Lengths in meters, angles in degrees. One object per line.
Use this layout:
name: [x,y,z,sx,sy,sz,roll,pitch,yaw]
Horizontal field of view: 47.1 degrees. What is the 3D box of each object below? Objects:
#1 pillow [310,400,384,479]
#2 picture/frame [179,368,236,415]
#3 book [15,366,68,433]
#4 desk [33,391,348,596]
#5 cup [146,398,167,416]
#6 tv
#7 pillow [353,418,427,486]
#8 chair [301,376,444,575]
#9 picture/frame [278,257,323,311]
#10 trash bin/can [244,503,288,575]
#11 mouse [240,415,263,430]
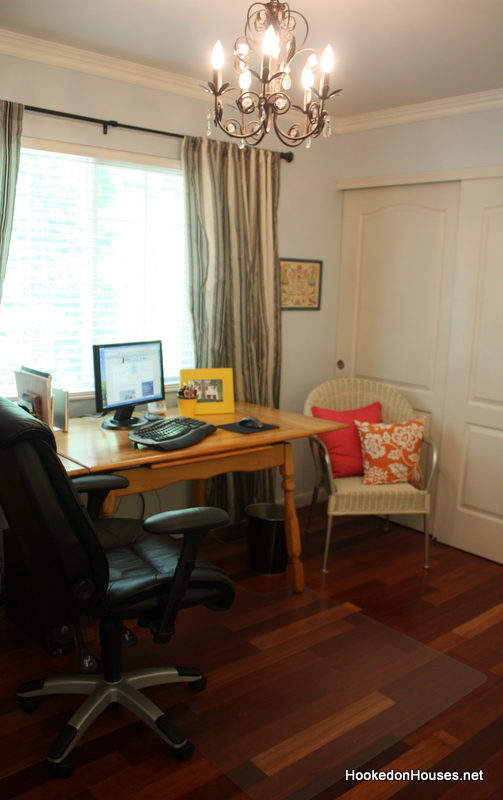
pillow: [0.493,0.276,3.117,0.285,0.262,0.148,-3,5,-43]
picture/frame: [-0.220,-0.039,2.807,0.214,0.186,0.021,-2,-2,-27]
book: [-0.770,-0.003,2.103,0.089,0.231,0.226,-11,21,-42]
desk: [-0.382,0.280,2.949,0.978,0.871,1.412,-12,33,-20]
cup: [-0.456,0.035,2.722,0.073,0.075,0.074,1,2,0]
tv: [-0.559,-0.070,2.546,0.182,0.354,0.373,8,12,36]
pillow: [0.733,0.273,3.003,0.336,0.343,0.125,-4,5,9]
chair: [0.626,0.381,3.122,0.628,0.875,0.682,0,5,-8]
picture/frame: [0.281,-0.699,3.512,0.395,0.300,0.021,-11,18,-44]
trash bin/can: [0.081,0.701,2.833,0.230,0.309,0.243,-5,-5,-16]
mouse: [0.008,0.097,2.539,0.077,0.028,0.050,10,15,41]
